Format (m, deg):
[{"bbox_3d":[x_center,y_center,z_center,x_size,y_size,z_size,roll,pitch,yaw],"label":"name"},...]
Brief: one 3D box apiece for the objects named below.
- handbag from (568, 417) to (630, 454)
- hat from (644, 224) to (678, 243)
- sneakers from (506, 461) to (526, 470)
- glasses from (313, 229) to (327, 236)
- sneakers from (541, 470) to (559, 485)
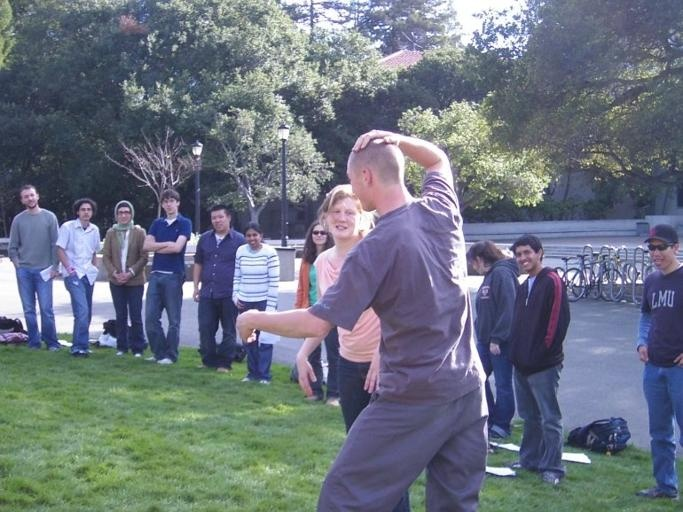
[{"bbox_3d":[3.961,2.746,13.985,0.682,0.346,0.542,-8,-5,42],"label":"handbag"},{"bbox_3d":[4.544,-0.298,12.947,0.417,0.323,0.437,-1,-4,19],"label":"hat"},{"bbox_3d":[2.543,3.098,13.295,0.166,0.064,0.106,3,5,-19],"label":"sneakers"},{"bbox_3d":[-0.364,-0.364,15.248,0.110,0.043,0.123,-1,-37,4],"label":"glasses"},{"bbox_3d":[2.980,3.195,12.974,0.190,0.073,0.143,17,7,44],"label":"sneakers"}]
